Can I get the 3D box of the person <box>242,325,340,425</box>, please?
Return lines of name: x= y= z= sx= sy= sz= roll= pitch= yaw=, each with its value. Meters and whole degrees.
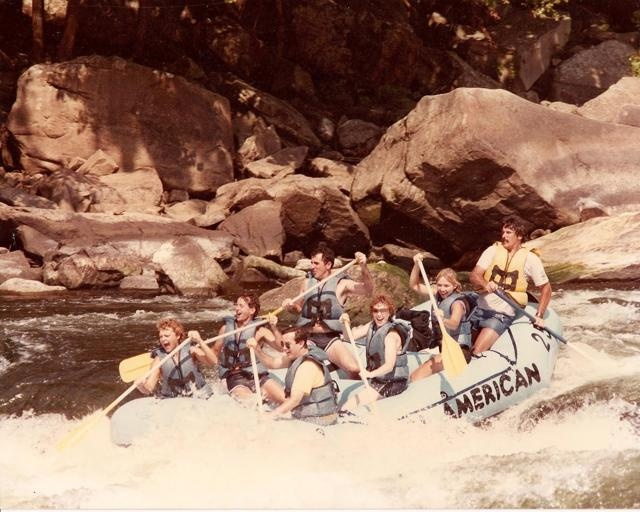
person: x=-0.229 y=1.440 z=7.508 sx=0.894 sy=1.231 sz=0.640 roll=-3 pitch=2 yaw=-15

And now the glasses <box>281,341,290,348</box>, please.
glasses: x=-0.356 y=0.945 z=7.431 sx=0.084 sy=0.033 sz=0.081 roll=17 pitch=-3 yaw=-43

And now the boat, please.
boat: x=0.467 y=1.430 z=7.614 sx=3.853 sy=0.653 sz=1.831 roll=-7 pitch=-1 yaw=-13

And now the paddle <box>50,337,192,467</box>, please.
paddle: x=-2.223 y=1.682 z=7.853 sx=1.938 sy=0.214 sz=0.079 roll=-41 pitch=14 yaw=-13

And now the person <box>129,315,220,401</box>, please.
person: x=-1.749 y=1.249 z=8.384 sx=0.626 sy=1.001 sz=0.559 roll=-23 pitch=-20 yaw=-9

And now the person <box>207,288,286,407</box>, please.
person: x=-0.788 y=1.044 z=7.880 sx=0.856 sy=1.156 sz=1.173 roll=-9 pitch=9 yaw=-43

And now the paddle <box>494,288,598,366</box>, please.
paddle: x=2.803 y=0.918 z=8.723 sx=1.519 sy=0.217 sz=0.074 roll=35 pitch=32 yaw=15

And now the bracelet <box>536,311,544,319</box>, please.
bracelet: x=2.594 y=0.702 z=8.281 sx=0.083 sy=0.069 sz=0.082 roll=-3 pitch=-1 yaw=-42

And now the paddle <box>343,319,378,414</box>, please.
paddle: x=0.442 y=1.206 z=7.815 sx=0.287 sy=1.101 sz=0.147 roll=-27 pitch=-26 yaw=28

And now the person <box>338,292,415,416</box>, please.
person: x=0.636 y=1.139 z=7.949 sx=0.852 sy=1.304 sz=0.687 roll=-4 pitch=2 yaw=2
